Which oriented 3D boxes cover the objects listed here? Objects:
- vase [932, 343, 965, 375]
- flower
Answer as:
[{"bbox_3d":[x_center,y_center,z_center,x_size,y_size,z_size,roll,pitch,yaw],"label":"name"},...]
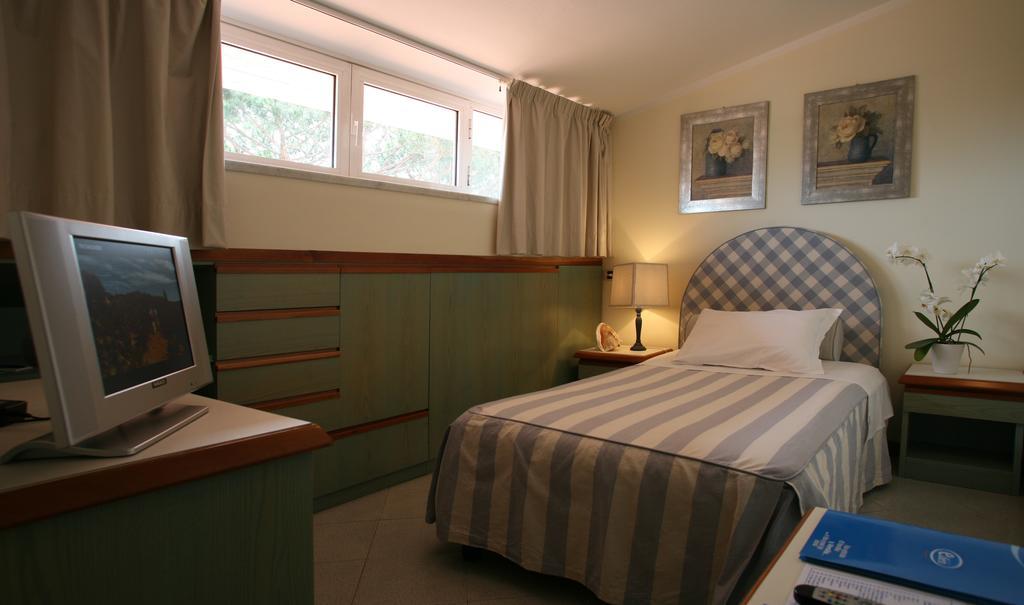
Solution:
[{"bbox_3d":[2.847,0.370,4.237,0.210,0.165,0.197,1,-6,33],"label":"vase"},{"bbox_3d":[2.957,-0.051,4.604,0.885,1.027,0.759,2,3,29],"label":"flower"}]
